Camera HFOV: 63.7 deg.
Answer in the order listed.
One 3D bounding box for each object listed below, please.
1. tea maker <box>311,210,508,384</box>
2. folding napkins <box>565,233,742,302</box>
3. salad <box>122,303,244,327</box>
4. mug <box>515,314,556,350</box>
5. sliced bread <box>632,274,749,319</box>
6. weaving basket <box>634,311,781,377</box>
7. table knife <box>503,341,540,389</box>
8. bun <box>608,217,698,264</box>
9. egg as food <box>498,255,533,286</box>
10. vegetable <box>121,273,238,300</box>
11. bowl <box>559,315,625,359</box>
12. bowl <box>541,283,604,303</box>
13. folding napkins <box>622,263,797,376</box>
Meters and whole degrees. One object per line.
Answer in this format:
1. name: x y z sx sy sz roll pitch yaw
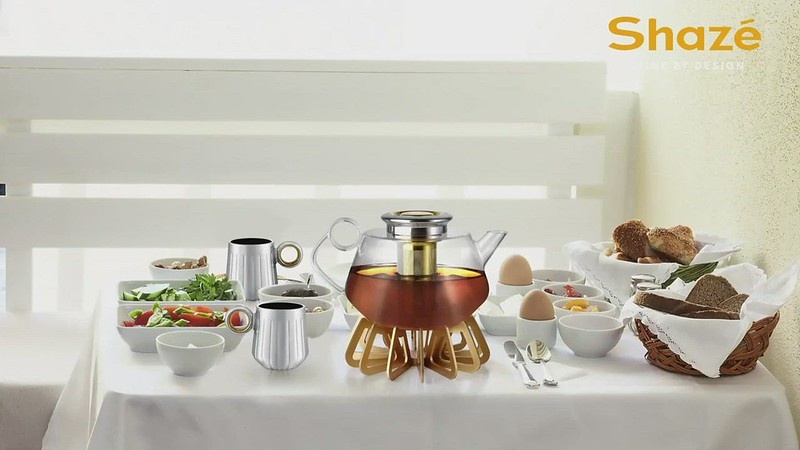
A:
1. tea maker: 0.034 0.119 1.745 0.572 0.402 0.398 0 8 1
2. folding napkins: 0.673 0.123 1.876 0.302 0.108 0.294 -4 6 -18
3. salad: -0.601 0.240 1.727 0.208 0.032 0.119 0 4 -6
4. mug: 0.379 0.285 1.731 0.118 0.077 0.111 19 -11 -11
5. sliced bread: 0.781 0.198 1.668 0.221 0.065 0.137 -15 14 -31
6. weaving basket: 0.775 0.321 1.616 0.233 0.076 0.218 -2 2 14
7. table knife: 0.307 0.351 1.634 0.032 0.026 0.182 -14 18 3
8. bun: 0.753 0.053 1.906 0.168 0.157 0.062 -4 44 24
9. egg as food: 0.334 0.130 1.933 0.100 0.105 0.093 -1 4 -5
10. vegetable: -0.621 0.190 1.879 0.224 0.029 0.134 -1 4 -10
11. bowl: 0.495 0.284 1.718 0.139 0.063 0.130 0 -2 0
12. bowl: 0.498 0.188 1.837 0.090 0.035 0.084 1 1 0
13. folding napkins: 0.804 0.249 1.675 0.379 0.167 0.337 -6 13 -4
